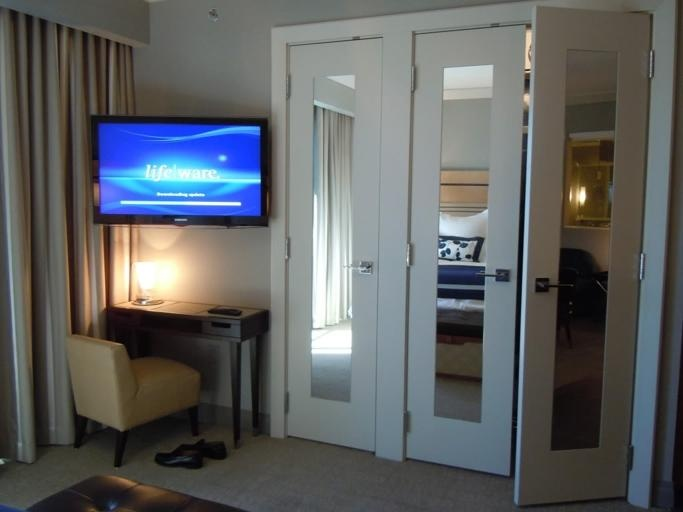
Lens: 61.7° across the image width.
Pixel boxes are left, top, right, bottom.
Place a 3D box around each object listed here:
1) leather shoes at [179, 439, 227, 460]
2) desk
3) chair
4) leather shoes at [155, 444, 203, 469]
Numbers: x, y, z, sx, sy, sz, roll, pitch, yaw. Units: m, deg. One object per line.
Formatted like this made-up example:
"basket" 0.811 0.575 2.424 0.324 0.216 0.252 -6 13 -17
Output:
"leather shoes" -0.915 1.251 3.773 0.321 0.125 0.121 6 -4 8
"desk" -1.072 0.780 4.023 1.053 0.814 0.418 4 1 24
"chair" -1.399 0.878 3.898 0.559 0.796 0.662 4 7 34
"leather shoes" -1.006 1.261 3.686 0.333 0.152 0.123 4 -4 8
